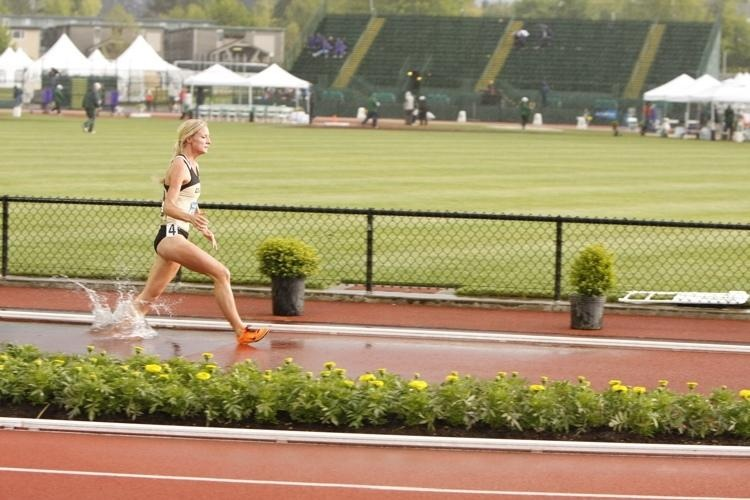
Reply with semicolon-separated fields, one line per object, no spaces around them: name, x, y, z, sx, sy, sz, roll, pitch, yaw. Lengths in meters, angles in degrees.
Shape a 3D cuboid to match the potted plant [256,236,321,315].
potted plant;-2.741;0.790;58.439;1.735;2.431;1.595;-1;-1;2
